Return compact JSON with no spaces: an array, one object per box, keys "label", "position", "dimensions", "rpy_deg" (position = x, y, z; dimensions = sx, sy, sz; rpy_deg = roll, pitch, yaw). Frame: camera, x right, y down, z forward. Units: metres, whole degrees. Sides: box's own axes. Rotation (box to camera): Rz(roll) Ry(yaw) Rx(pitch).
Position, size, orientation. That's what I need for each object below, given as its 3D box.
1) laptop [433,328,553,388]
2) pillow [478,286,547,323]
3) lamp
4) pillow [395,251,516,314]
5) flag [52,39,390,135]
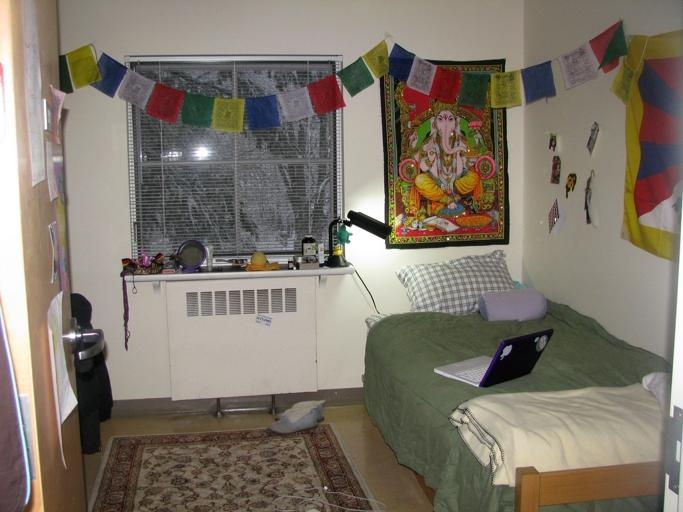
[{"label":"laptop","position":[0.720,0.451,2.586],"dimensions":[0.432,0.260,0.469],"rpy_deg":[8,8,37]},{"label":"pillow","position":[1.097,0.308,3.493],"dimensions":[0.294,0.102,0.217],"rpy_deg":[-2,16,-5]},{"label":"lamp","position":[0.099,-0.122,3.725],"dimensions":[0.450,0.414,0.195],"rpy_deg":[6,22,-7]},{"label":"pillow","position":[0.884,0.158,3.832],"dimensions":[0.478,0.235,0.766],"rpy_deg":[-12,38,-38]},{"label":"flag","position":[-0.746,-1.121,3.622],"dimensions":[2.073,0.589,0.234],"rpy_deg":[-1,9,-7]}]
